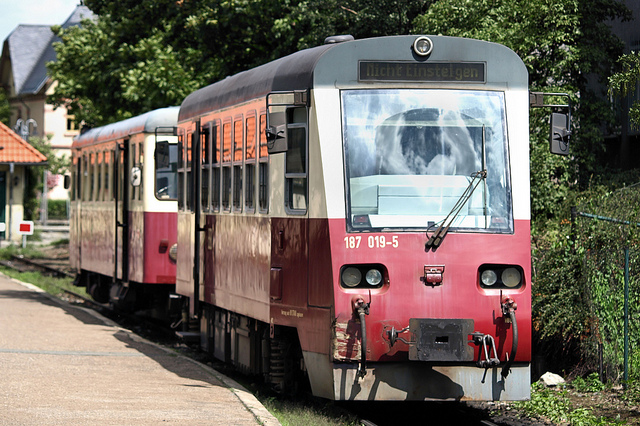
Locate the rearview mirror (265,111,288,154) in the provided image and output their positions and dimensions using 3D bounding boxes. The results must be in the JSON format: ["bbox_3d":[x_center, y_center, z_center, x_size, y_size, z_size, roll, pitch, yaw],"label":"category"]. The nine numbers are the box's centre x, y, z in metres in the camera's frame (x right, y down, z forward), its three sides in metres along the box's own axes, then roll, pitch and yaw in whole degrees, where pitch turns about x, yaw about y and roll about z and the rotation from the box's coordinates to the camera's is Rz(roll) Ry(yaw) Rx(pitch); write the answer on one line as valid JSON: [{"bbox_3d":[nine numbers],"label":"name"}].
[{"bbox_3d":[-0.592,-1.003,8.786,0.286,0.577,0.197,6,12,33],"label":"rearview mirror"}]

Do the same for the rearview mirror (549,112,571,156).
[{"bbox_3d":[3.180,-1.064,9.104,0.278,0.597,0.267,2,2,-15],"label":"rearview mirror"}]

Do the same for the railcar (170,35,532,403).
[{"bbox_3d":[-0.345,0.113,12.379,3.000,4.671,8.653,-1,1,-25],"label":"railcar"}]

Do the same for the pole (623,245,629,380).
[{"bbox_3d":[4.717,1.561,10.794,0.092,1.968,0.377,-2,-6,23],"label":"pole"}]

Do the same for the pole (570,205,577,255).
[{"bbox_3d":[4.482,0.297,12.354,0.083,0.853,0.341,-1,-6,19],"label":"pole"}]
